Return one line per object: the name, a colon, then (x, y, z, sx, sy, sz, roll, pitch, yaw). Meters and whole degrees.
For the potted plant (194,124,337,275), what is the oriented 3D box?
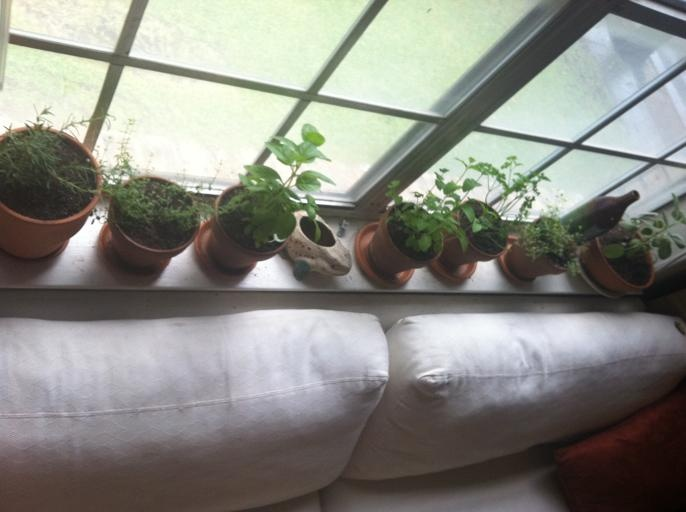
potted plant: (-0.223, -0.136, 1.495, 0.292, 0.476, 0.255, 42, 20, -3)

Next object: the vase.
vase: (-0.099, -0.005, 1.695, 0.222, 0.084, 0.163, 48, 55, 7)
